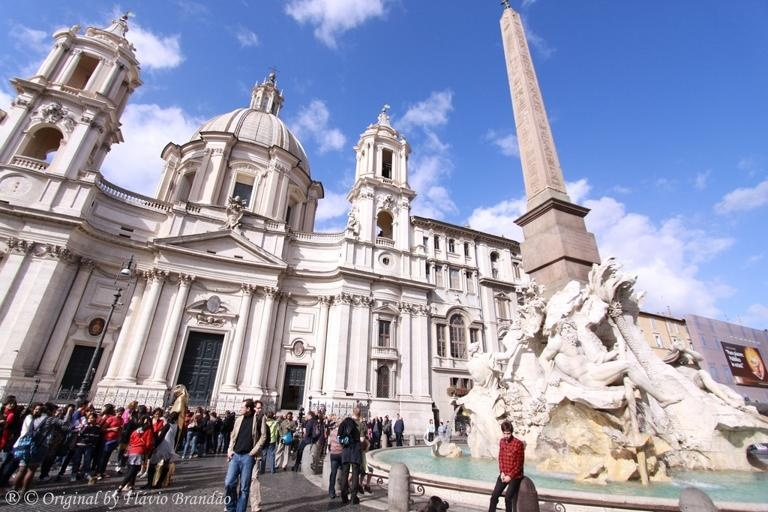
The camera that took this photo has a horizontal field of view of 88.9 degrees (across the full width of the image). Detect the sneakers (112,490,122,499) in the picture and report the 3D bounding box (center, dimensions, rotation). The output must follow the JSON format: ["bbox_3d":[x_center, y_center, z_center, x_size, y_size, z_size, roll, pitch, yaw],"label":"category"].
[{"bbox_3d":[-7.875,6.998,11.592,0.198,0.211,0.323,17,-29,-30],"label":"sneakers"}]

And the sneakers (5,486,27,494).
[{"bbox_3d":[-10.231,6.566,10.934,0.658,0.187,0.290,-14,-28,30],"label":"sneakers"}]

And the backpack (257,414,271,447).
[{"bbox_3d":[-3.442,4.938,11.075,0.335,0.915,0.876,5,-25,-7],"label":"backpack"}]
